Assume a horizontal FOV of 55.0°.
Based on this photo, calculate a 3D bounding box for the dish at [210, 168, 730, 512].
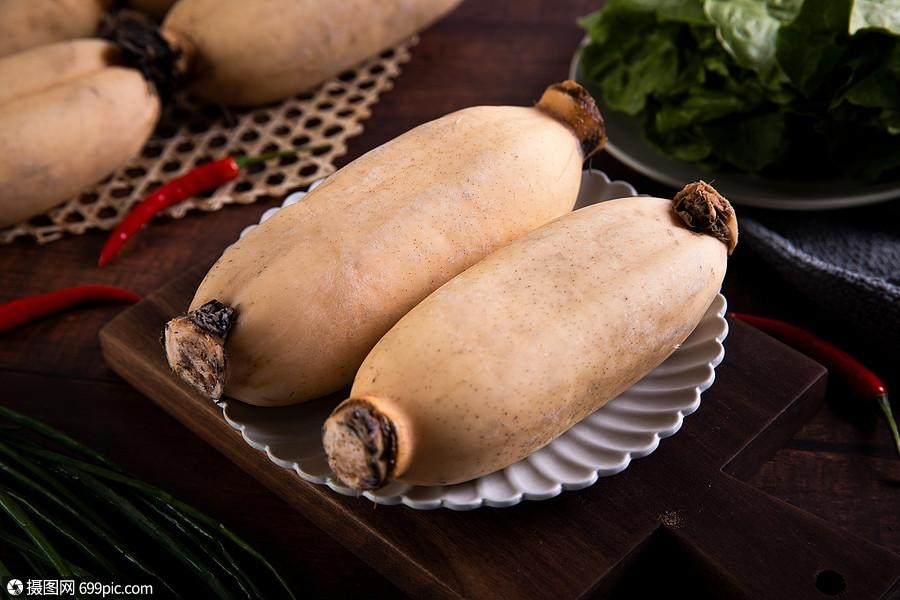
[{"bbox_3d":[0.034,0.090,0.925,0.385,0.055,0.395,22,45,21],"label":"dish"}]

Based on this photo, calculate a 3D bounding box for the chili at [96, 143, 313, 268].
[{"bbox_3d":[-0.349,-0.126,1.192,0.383,0.043,0.045,-26,41,-25],"label":"chili"}]
